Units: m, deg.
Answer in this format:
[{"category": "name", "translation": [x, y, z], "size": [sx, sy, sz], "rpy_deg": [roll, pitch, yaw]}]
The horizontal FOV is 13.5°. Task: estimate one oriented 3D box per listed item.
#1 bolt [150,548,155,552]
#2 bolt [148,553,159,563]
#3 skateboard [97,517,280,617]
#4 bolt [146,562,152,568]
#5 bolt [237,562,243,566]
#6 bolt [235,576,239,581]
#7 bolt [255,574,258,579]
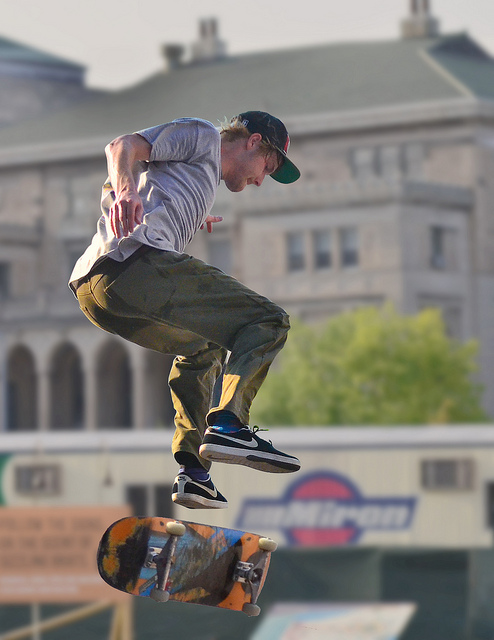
[{"category": "bolt", "translation": [-0.606, 1.434, 12.836], "size": [0.028, 0.023, 0.003], "rpy_deg": [0, -2, 5]}, {"category": "bolt", "translation": [-0.600, 1.481, 12.826], "size": [0.053, 0.058, 0.015], "rpy_deg": [0, -2, 16]}, {"category": "skateboard", "translation": [-0.343, 1.534, 12.947], "size": [1.305, 0.505, 0.193], "rpy_deg": [13, 1, -32]}, {"category": "bolt", "translation": [-0.627, 1.525, 12.825], "size": [0.032, 0.031, 0.003], "rpy_deg": [0, -2, 12]}, {"category": "bolt", "translation": [-0.064, 1.533, 12.957], "size": [0.025, 0.025, 0.015], "rpy_deg": [9, -48, -8]}, {"category": "bolt", "translation": [-0.081, 1.623, 12.954], "size": [0.020, 0.020, 0.034], "rpy_deg": [6, -3, -4]}, {"category": "bolt", "translation": [0.041, 1.608, 12.904], "size": [0.016, 0.016, 0.012], "rpy_deg": [-1, 0, -10]}]
